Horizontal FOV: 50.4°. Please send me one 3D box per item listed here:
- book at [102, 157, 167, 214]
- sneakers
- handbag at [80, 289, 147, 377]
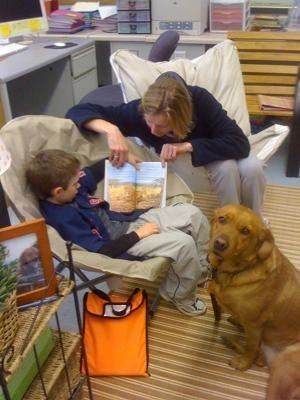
[{"bbox_3d":[-0.063,-0.060,1.458,0.341,0.224,0.111,-4,1,-16],"label":"book"},{"bbox_3d":[0.137,0.447,1.431,0.197,0.083,0.085,23,54,13],"label":"sneakers"},{"bbox_3d":[-0.126,0.489,1.200,0.244,0.188,0.272,-4,23,-2],"label":"handbag"}]
